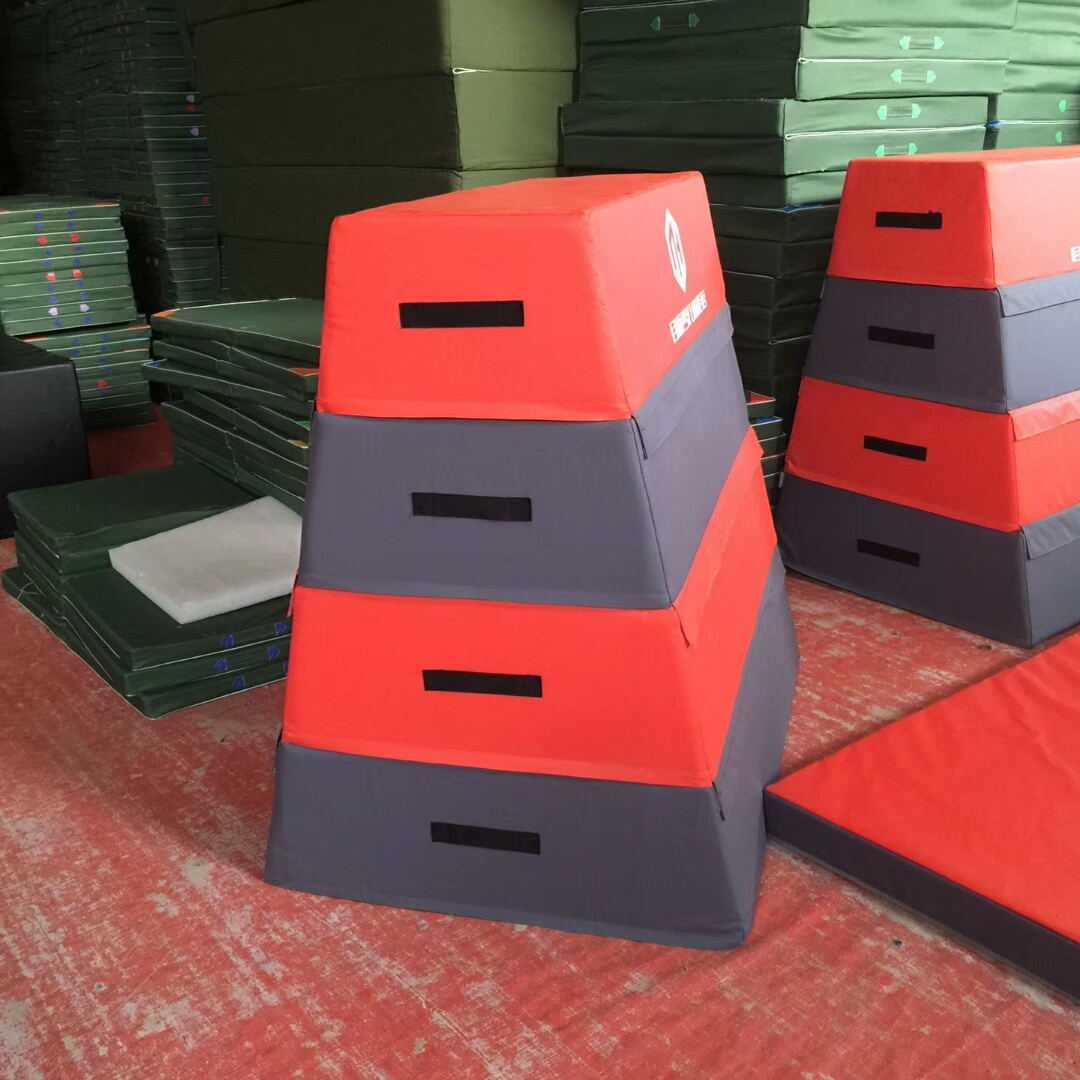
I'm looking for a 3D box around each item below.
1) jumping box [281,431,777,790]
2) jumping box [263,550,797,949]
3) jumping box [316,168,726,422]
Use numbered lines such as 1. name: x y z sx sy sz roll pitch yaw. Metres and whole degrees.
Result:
1. jumping box: 0.018 0.085 1.174 0.434 0.144 0.388 1 24 15
2. jumping box: 0.011 0.243 1.166 0.417 0.168 0.376 4 22 15
3. jumping box: 0.009 -0.300 1.174 0.291 0.148 0.469 2 18 12
